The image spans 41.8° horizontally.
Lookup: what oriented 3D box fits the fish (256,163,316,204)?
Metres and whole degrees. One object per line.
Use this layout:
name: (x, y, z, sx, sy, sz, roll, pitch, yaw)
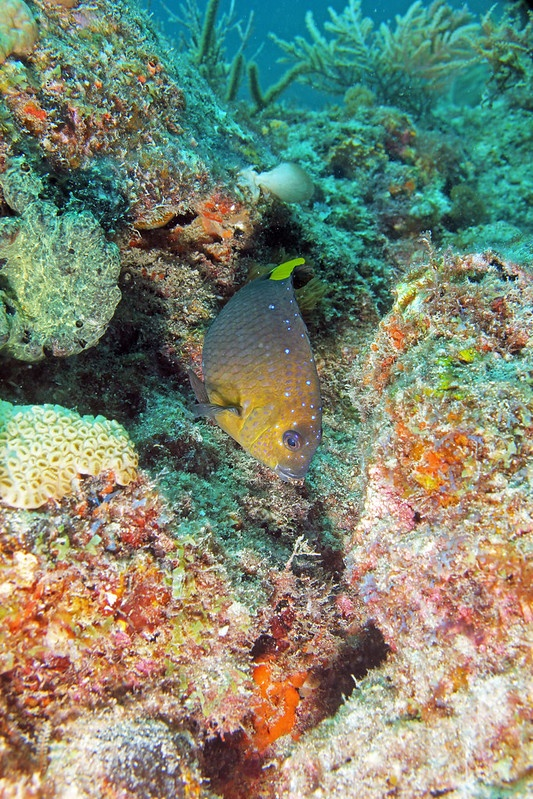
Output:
fish: (0.150, -1.668, 5.383, 0.308, 0.241, 0.495, 28, 36, 19)
